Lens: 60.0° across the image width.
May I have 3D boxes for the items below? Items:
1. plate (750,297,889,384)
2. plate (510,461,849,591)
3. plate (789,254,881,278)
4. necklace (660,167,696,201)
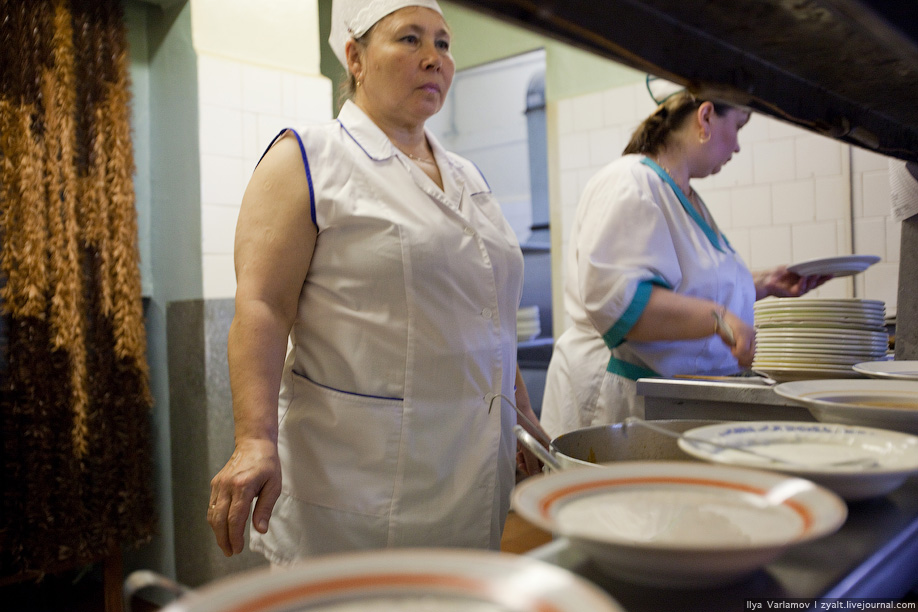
[{"bbox_3d":[0.894,0.087,1.961,0.235,0.138,0.231,2,-6,-26],"label":"plate"},{"bbox_3d":[0.317,0.327,1.186,0.475,0.148,0.172,-3,4,2],"label":"plate"},{"bbox_3d":[1.255,-0.127,2.634,0.142,0.025,0.140,4,-12,-35],"label":"plate"},{"bbox_3d":[0.622,-0.353,2.373,0.093,0.041,0.124,-11,52,-44],"label":"necklace"}]
